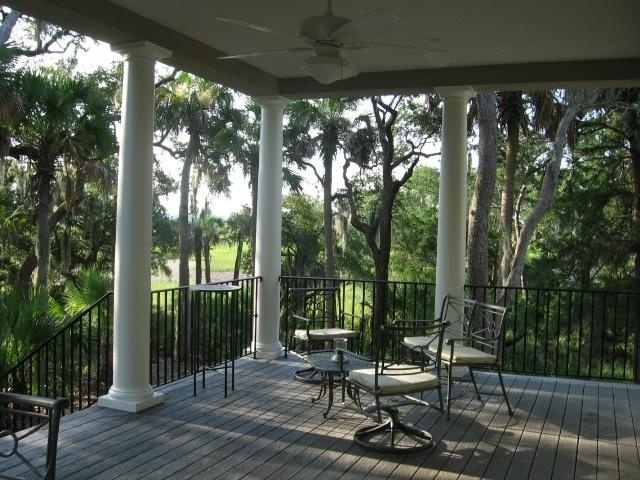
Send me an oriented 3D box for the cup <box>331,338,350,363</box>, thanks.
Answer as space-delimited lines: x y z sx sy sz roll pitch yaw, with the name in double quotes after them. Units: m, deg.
0.210 1.090 5.362 0.170 0.191 0.176 2 -4 0 "cup"
